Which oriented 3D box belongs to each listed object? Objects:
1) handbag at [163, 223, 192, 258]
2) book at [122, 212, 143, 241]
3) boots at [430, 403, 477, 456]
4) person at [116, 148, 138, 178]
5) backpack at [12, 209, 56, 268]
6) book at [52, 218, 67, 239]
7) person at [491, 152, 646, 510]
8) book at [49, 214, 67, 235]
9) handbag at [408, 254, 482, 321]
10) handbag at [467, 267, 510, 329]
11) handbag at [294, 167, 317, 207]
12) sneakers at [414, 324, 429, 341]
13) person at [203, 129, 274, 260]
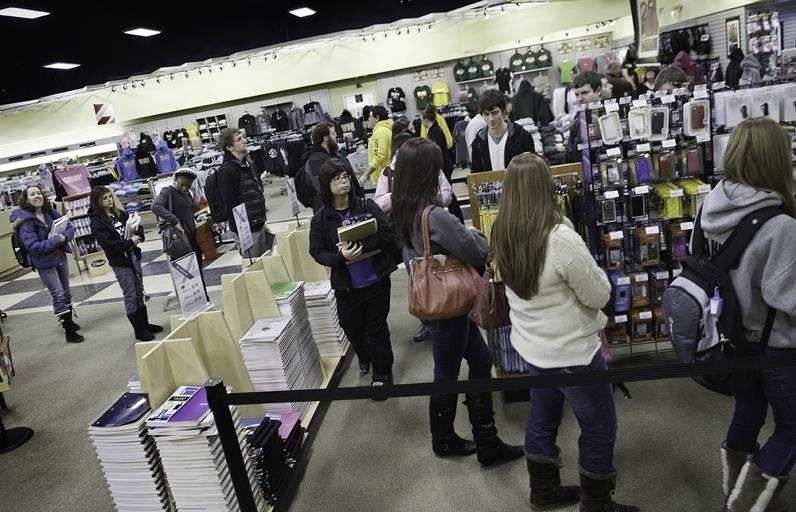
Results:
[{"bbox_3d":[-2.767,-0.209,6.584,0.187,0.349,0.322,-17,-17,-1],"label":"handbag"},{"bbox_3d":[-3.322,-0.377,6.574,0.110,0.314,0.246,20,29,-9],"label":"book"},{"bbox_3d":[0.453,1.405,4.257,0.376,0.449,0.207,-4,0,-3],"label":"boots"},{"bbox_3d":[-6.939,-2.372,13.423,0.480,0.836,0.671,-19,18,-28],"label":"person"},{"bbox_3d":[-4.864,-0.243,7.060,0.459,0.646,0.584,-7,21,-2],"label":"backpack"},{"bbox_3d":[-4.531,-0.391,7.043,0.063,0.243,0.241,27,32,2],"label":"book"},{"bbox_3d":[1.054,0.605,3.431,0.745,2.502,0.602,-4,17,20],"label":"person"},{"bbox_3d":[-4.535,-0.407,7.033,0.063,0.243,0.237,24,29,3],"label":"book"},{"bbox_3d":[0.351,0.226,3.784,0.422,0.431,0.199,-3,15,0],"label":"handbag"},{"bbox_3d":[0.638,0.298,3.680,0.385,0.490,0.189,-7,16,-20],"label":"handbag"},{"bbox_3d":[-1.102,-0.835,6.307,0.271,0.379,0.506,-5,4,-8],"label":"handbag"},{"bbox_3d":[0.261,0.866,5.791,0.139,0.179,0.408,-2,-6,8],"label":"sneakers"},{"bbox_3d":[-1.953,-0.754,6.431,0.716,1.592,1.735,-15,17,-18],"label":"person"}]
